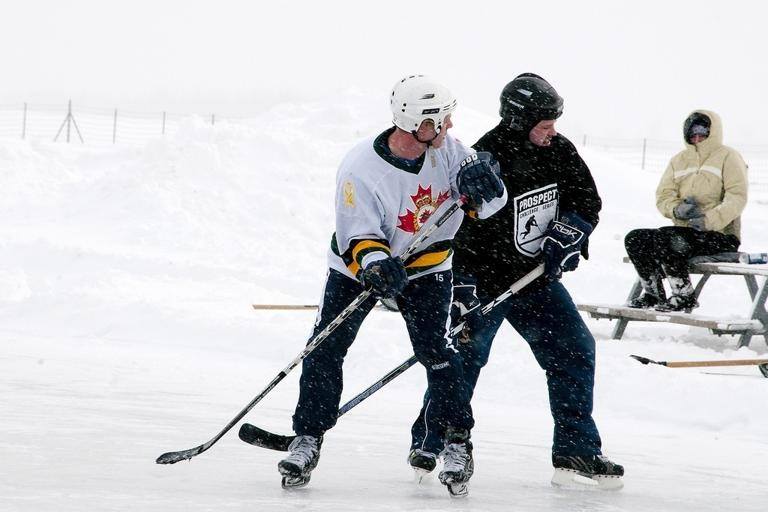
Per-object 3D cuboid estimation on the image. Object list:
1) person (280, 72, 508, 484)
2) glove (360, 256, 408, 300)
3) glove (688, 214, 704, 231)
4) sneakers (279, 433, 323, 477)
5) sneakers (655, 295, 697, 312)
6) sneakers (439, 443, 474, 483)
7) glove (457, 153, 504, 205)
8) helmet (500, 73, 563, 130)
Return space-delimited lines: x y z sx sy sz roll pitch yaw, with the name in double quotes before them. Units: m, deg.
"person" 0.114 0.193 9.739 1.645 3.295 1.075 2 13 2
"glove" 0.010 0.174 9.511 0.407 0.145 0.303 -13 -42 35
"glove" 3.586 -0.371 13.623 0.197 0.142 0.152 -5 -5 29
"sneakers" -0.656 1.616 9.678 0.198 0.180 0.480 13 12 15
"sneakers" 3.383 0.559 13.648 0.532 0.185 0.183 -1 -1 11
"sneakers" 0.587 1.658 9.637 0.258 0.308 0.286 2 12 3
"glove" 0.805 -0.706 9.918 0.434 0.184 0.514 -22 -19 -9
"helmet" 1.251 -1.309 10.151 0.484 0.482 0.304 9 15 31
